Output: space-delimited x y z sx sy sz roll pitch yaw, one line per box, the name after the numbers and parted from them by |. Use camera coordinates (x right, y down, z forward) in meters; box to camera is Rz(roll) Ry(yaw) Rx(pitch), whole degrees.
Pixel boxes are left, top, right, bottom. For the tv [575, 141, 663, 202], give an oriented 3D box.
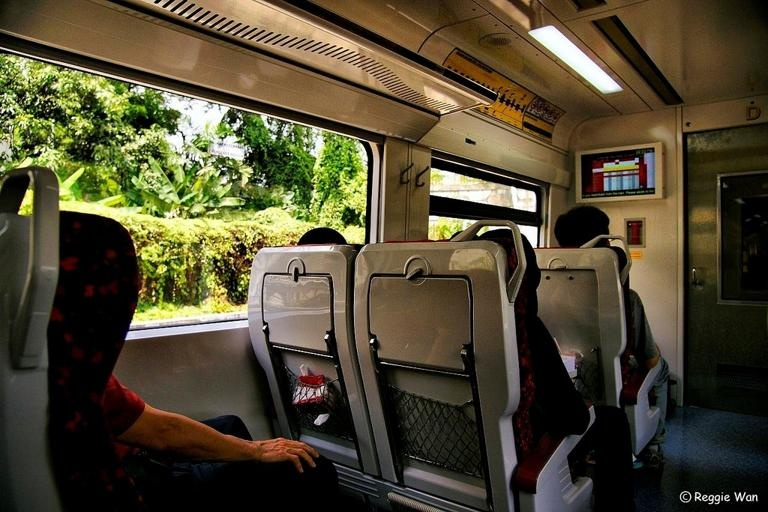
2.806 -0.982 6.258 0.747 0.532 0.098 0 -3 41 | tv
